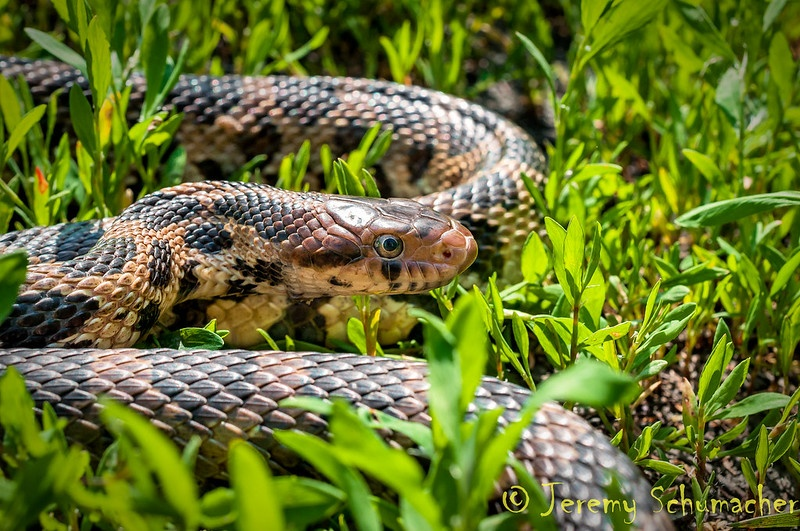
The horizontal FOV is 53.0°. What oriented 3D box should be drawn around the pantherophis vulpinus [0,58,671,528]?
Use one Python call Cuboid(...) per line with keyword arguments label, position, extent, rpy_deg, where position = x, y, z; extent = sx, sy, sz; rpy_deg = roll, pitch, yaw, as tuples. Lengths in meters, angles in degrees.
Cuboid(label="pantherophis vulpinus", position=(-0.501, 0.002, 3.696), extent=(2.493, 0.705, 2.933), rpy_deg=(2, 34, -13))
